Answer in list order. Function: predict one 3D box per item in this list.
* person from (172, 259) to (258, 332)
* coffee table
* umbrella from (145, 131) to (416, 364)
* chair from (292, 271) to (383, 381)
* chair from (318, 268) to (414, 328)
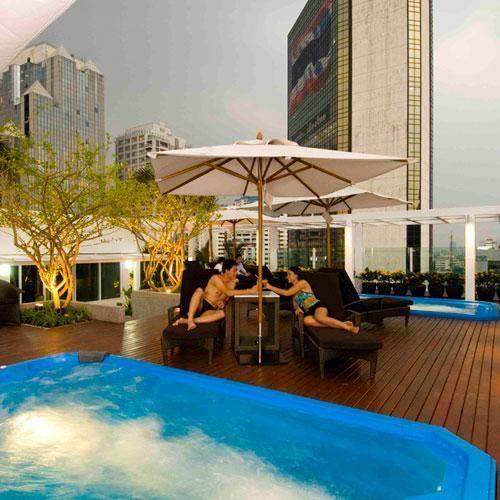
[{"bbox_3d":[-0.582,0.784,8.011,0.701,0.827,1.145,31,4,38],"label":"person"},{"bbox_3d":[0.099,1.099,7.207,0.818,1.053,1.118,0,-1,0],"label":"coffee table"},{"bbox_3d":[0.328,0.189,7.412,3.785,3.520,3.763,2,1,-8],"label":"umbrella"},{"bbox_3d":[1.195,1.112,6.741,1.011,1.185,1.675,-4,8,1],"label":"chair"},{"bbox_3d":[2.199,1.045,9.299,1.681,1.129,1.166,0,-11,-30],"label":"chair"}]
